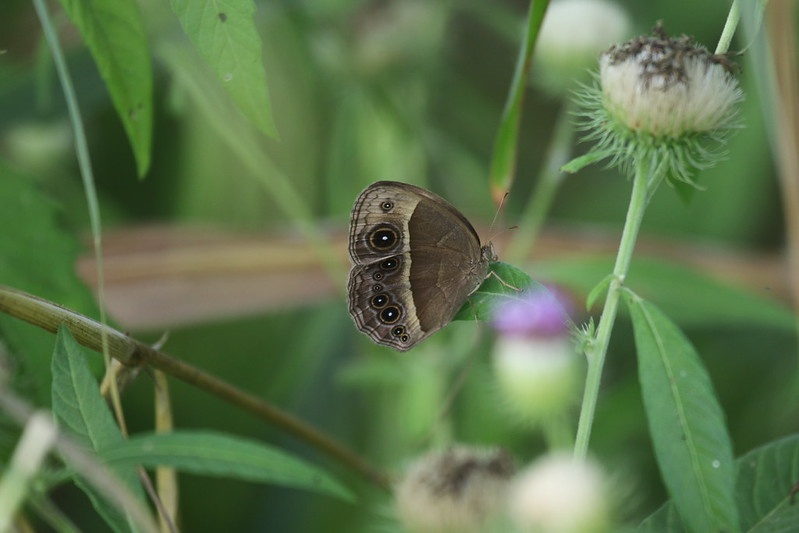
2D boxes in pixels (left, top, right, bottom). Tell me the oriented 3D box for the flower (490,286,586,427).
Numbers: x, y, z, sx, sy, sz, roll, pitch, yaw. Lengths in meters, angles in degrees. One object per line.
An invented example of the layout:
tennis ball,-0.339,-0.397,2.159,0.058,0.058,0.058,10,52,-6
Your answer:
flower,0.191,0.132,1.144,0.121,0.193,0.120,-11,-20,-3

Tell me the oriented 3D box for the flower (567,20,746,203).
flower,0.337,-0.205,1.072,0.205,0.243,0.133,0,-43,15

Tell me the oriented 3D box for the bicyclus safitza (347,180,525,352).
bicyclus safitza,0.038,0.005,1.197,0.224,0.182,0.166,3,-33,-11
